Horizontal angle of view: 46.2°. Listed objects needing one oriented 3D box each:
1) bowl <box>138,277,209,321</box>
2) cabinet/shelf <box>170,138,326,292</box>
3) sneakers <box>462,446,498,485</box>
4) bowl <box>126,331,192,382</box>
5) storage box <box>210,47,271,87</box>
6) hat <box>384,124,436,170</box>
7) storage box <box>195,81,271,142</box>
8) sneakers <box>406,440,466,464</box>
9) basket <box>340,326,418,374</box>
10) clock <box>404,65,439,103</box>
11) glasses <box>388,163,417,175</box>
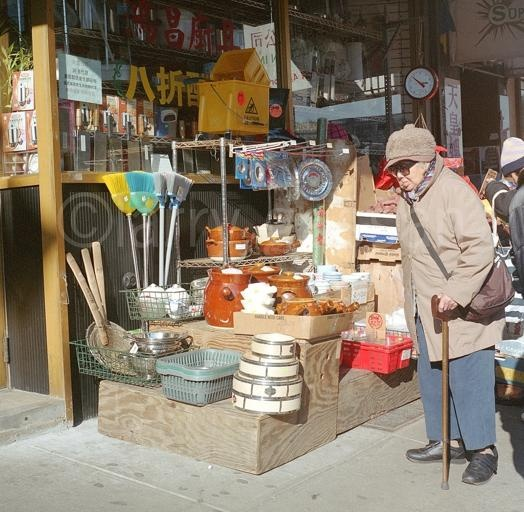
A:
[{"bbox_3d":[-0.544,0.282,3.973,0.246,0.130,0.381,1,3,27],"label":"bowl"},{"bbox_3d":[-0.301,-0.352,4.783,0.426,1.083,1.155,0,0,-23],"label":"cabinet/shelf"},{"bbox_3d":[1.054,1.028,3.004,0.100,0.095,0.261,-7,2,36],"label":"sneakers"},{"bbox_3d":[-0.622,0.581,3.618,0.323,0.205,0.278,1,-3,-3],"label":"bowl"},{"bbox_3d":[-0.176,-1.409,4.562,0.349,0.201,0.339,-15,19,-42],"label":"storage box"},{"bbox_3d":[0.724,-0.532,3.005,0.248,0.152,0.169,-12,10,-31],"label":"hat"},{"bbox_3d":[-0.189,-1.037,4.579,0.412,0.422,0.653,4,8,32],"label":"storage box"},{"bbox_3d":[0.885,1.037,3.278,0.344,0.139,0.124,1,-4,7],"label":"sneakers"},{"bbox_3d":[0.745,0.583,3.901,0.283,0.135,0.396,4,5,39],"label":"basket"},{"bbox_3d":[1.792,-1.995,7.081,0.396,0.390,0.402,1,-3,28],"label":"clock"},{"bbox_3d":[0.671,-0.431,3.006,0.067,0.069,0.032,-13,4,30],"label":"glasses"}]
